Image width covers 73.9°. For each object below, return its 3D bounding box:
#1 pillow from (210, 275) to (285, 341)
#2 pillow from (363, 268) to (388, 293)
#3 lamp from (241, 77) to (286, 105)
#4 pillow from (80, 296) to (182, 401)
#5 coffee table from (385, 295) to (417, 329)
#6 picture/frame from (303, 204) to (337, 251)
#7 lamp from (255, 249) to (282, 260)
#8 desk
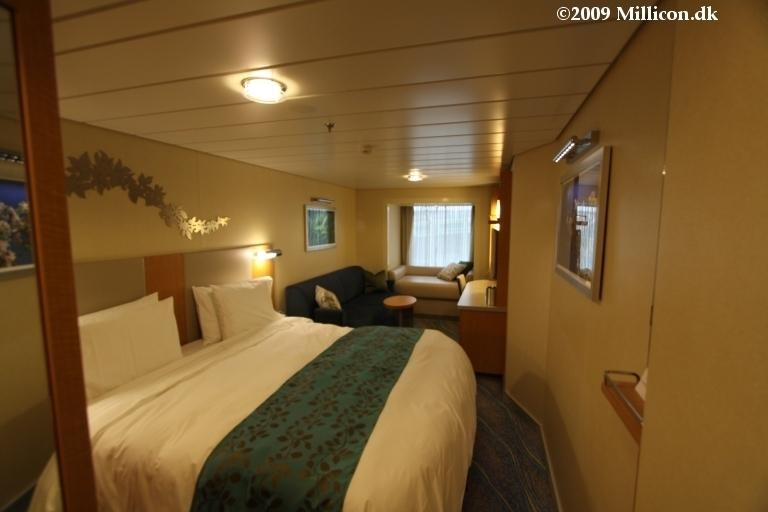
[{"bbox_3d":[-1.051,0.387,3.969,0.210,0.403,0.619,2,9,30],"label":"pillow"},{"bbox_3d":[-0.105,0.339,6.764,0.288,0.259,0.109,3,-26,-30],"label":"pillow"},{"bbox_3d":[-0.598,-0.818,2.567,0.218,0.079,0.271,-3,3,-14],"label":"lamp"},{"bbox_3d":[-1.516,0.533,3.068,0.088,0.468,0.644,5,15,29],"label":"pillow"},{"bbox_3d":[0.200,0.637,5.765,0.370,0.407,0.373,-2,18,3],"label":"coffee table"},{"bbox_3d":[-0.705,-0.307,5.804,0.035,0.525,0.911,-2,3,-30],"label":"picture/frame"},{"bbox_3d":[-1.016,-0.005,4.465,0.166,0.041,0.088,-2,30,8],"label":"lamp"},{"bbox_3d":[1.134,0.620,5.292,0.455,0.716,1.587,3,14,20],"label":"desk"}]
